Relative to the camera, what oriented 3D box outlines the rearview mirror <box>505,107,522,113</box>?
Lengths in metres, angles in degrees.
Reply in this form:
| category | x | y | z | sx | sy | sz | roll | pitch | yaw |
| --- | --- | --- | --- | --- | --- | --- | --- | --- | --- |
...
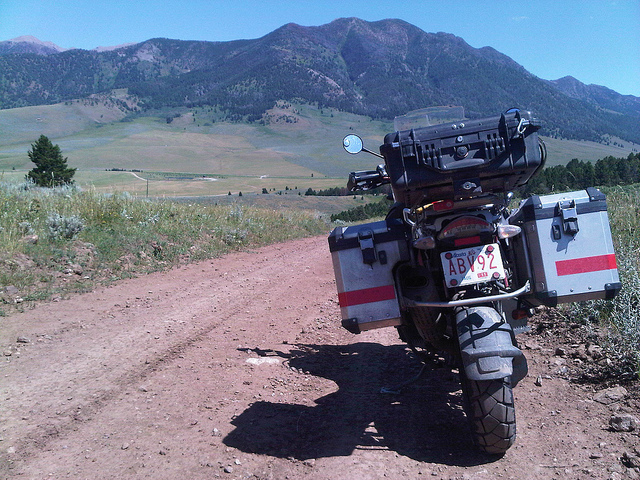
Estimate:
| category | x | y | z | sx | sy | sz | roll | pitch | yaw |
| --- | --- | --- | --- | --- | --- | --- | --- | --- | --- |
| rearview mirror | 2.306 | -1.543 | 6.501 | 0.114 | 0.039 | 0.127 | -2 | 9 | 1 |

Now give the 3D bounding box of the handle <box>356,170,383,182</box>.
| category | x | y | z | sx | sy | sz | roll | pitch | yaw |
| --- | --- | --- | --- | --- | --- | --- | --- | --- | --- |
| handle | 0.713 | -0.912 | 7.835 | 0.272 | 0.100 | 0.160 | -6 | 14 | -4 |
